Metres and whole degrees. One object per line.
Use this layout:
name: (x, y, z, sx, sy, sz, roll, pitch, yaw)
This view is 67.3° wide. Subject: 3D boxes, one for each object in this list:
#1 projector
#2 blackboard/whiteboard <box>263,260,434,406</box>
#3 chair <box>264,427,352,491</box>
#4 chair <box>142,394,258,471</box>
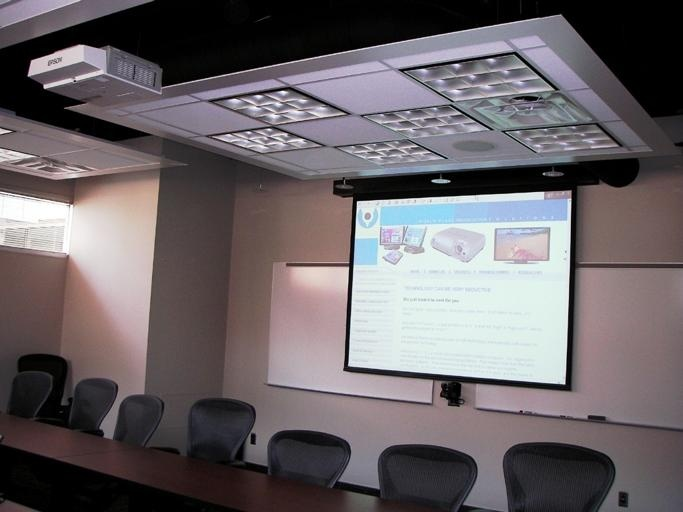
projector: (-1.737, -1.309, 3.756, 0.721, 0.356, 0.657, 3, -3, 29)
blackboard/whiteboard: (0.179, 1.030, 6.608, 2.291, 1.444, 0.074, -1, -7, 30)
chair: (-0.195, 1.520, 3.821, 0.453, 0.569, 0.449, 0, -27, 14)
chair: (-1.101, 1.601, 4.730, 0.664, 0.912, 0.664, 0, -18, 16)
